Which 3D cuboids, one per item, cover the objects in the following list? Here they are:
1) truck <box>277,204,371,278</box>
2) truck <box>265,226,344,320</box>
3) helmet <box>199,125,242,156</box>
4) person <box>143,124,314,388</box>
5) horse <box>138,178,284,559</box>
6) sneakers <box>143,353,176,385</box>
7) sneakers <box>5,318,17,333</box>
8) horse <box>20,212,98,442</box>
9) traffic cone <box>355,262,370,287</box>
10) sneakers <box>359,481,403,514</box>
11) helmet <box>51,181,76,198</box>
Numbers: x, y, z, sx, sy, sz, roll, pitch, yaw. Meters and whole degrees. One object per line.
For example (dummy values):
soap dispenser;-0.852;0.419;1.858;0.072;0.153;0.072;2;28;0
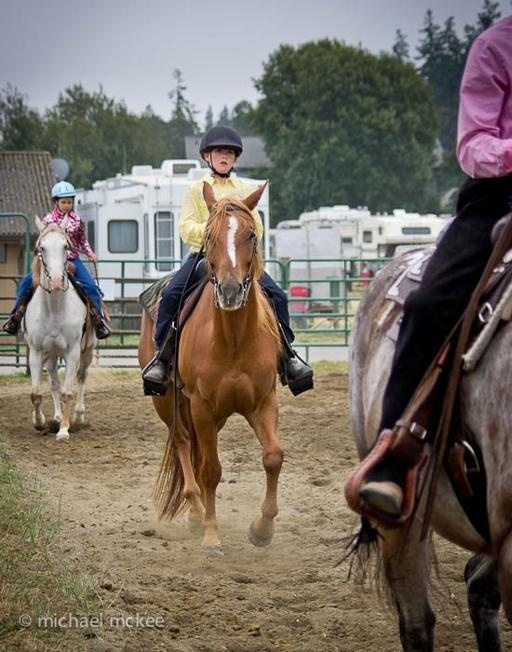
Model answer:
truck;1.071;-1.526;22.293;1.102;1.066;1.785;-1;0;1
truck;0.895;-0.819;19.625;1.331;1.588;0.805;3;5;24
helmet;-0.221;-1.174;8.067;0.263;0.187;0.295;-2;7;-2
person;-0.295;-0.465;8.072;1.010;1.859;0.999;2;-6;-35
horse;-0.251;0.222;7.699;0.648;2.174;1.351;-4;7;-23
sneakers;-0.619;0.275;7.987;0.092;0.145;0.300;8;-13;0
sneakers;-2.260;-0.011;11.773;0.076;0.112;0.245;5;-18;-6
horse;-1.691;0.130;11.148;0.550;1.801;2.186;-1;-4;-3
traffic cone;1.292;-0.621;15.424;0.172;0.188;0.329;0;-5;-2
sneakers;0.478;0.655;4.886;0.124;0.104;0.130;12;-18;37
helmet;-1.677;-1.201;11.081;0.134;0.124;0.201;-2;-2;-16
